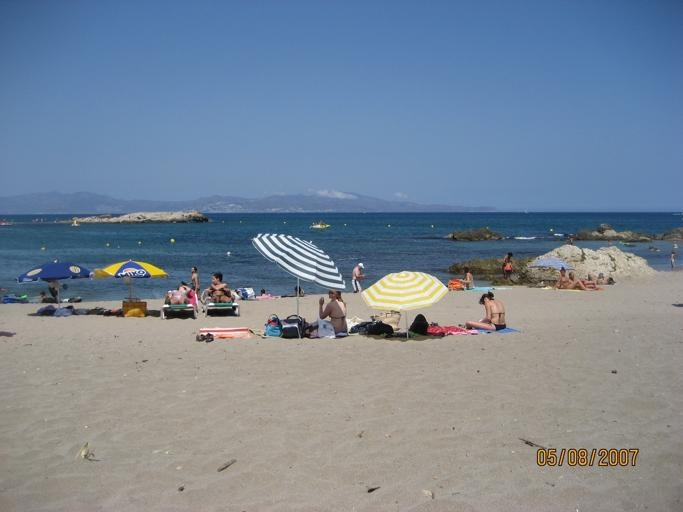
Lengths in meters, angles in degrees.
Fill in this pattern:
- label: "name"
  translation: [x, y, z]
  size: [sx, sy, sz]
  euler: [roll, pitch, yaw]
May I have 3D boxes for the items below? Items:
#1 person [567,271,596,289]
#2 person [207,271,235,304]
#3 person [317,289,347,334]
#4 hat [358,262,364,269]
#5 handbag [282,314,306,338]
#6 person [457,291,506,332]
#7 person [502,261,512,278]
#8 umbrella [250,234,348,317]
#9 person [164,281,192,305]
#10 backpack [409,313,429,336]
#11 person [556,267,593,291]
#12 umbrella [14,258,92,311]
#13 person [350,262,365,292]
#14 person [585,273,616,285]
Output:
- label: "person"
  translation: [9.785, 1.073, 27.867]
  size: [0.611, 0.531, 1.143]
  euler: [-4, 14, -17]
- label: "person"
  translation: [-3.880, 0.999, 21.983]
  size: [0.834, 1.329, 1.705]
  euler: [-3, 14, -10]
- label: "person"
  translation: [-0.218, 1.358, 17.875]
  size: [0.762, 1.164, 0.983]
  euler: [0, 14, 0]
- label: "hat"
  translation: [1.055, 0.503, 36.804]
  size: [0.384, 0.259, 0.266]
  euler: [18, 35, -18]
- label: "handbag"
  translation: [-1.277, 1.779, 17.701]
  size: [0.700, 0.425, 0.640]
  euler: [-5, -7, 12]
- label: "person"
  translation: [3.856, 1.449, 18.152]
  size: [0.969, 0.909, 0.714]
  euler: [-2, 14, -8]
- label: "person"
  translation: [8.070, 0.514, 33.241]
  size: [0.365, 1.163, 1.388]
  euler: [3, 14, 13]
- label: "umbrella"
  translation: [-1.153, 0.179, 19.091]
  size: [2.744, 1.567, 2.431]
  euler: [21, 17, -11]
- label: "person"
  translation: [-5.011, 1.185, 21.265]
  size: [0.561, 0.330, 0.868]
  euler: [2, 20, -11]
- label: "backpack"
  translation: [2.072, 1.783, 17.875]
  size: [0.423, 0.541, 0.577]
  euler: [8, -2, 9]
- label: "person"
  translation: [9.510, 0.994, 28.168]
  size: [1.119, 0.581, 0.804]
  euler: [-1, 9, 23]
- label: "umbrella"
  translation: [-8.895, 1.002, 20.924]
  size: [1.898, 1.193, 1.899]
  euler: [11, 13, 36]
- label: "person"
  translation: [0.827, 1.082, 34.345]
  size: [0.689, 1.751, 0.695]
  euler: [-10, 30, -15]
- label: "person"
  translation: [11.547, 1.037, 30.572]
  size: [1.076, 0.529, 1.401]
  euler: [0, -1, -2]
